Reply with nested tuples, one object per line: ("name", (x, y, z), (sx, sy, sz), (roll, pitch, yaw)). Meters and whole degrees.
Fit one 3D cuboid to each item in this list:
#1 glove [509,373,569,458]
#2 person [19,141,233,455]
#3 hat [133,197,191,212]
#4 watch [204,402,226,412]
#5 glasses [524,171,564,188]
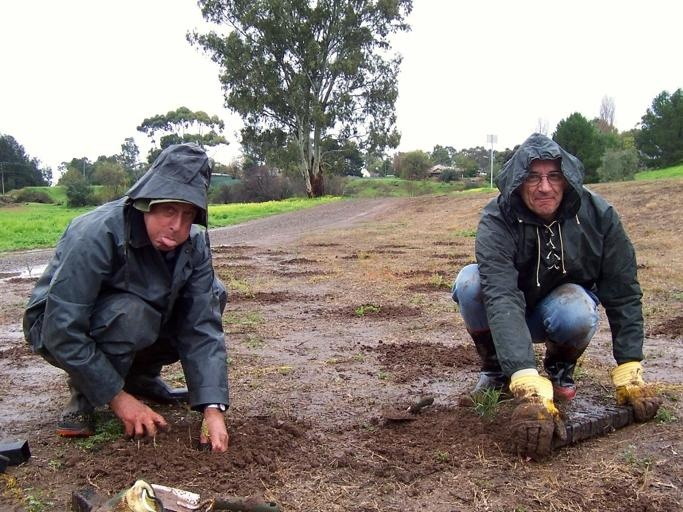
("glove", (1.127, 0.996, 3.162), (0.363, 0.246, 0.529), (2, 3, 11))
("person", (-1.325, 0.236, 3.412), (1.419, 1.745, 1.176), (-2, -5, 35))
("hat", (-1.042, -0.290, 3.038), (0.347, 0.086, 0.109), (2, 10, 11))
("watch", (-0.736, 0.883, 3.126), (0.087, 0.064, 0.097), (12, -24, -8))
("glasses", (1.271, -0.488, 3.329), (0.229, 0.095, 0.064), (-1, 10, -7))
